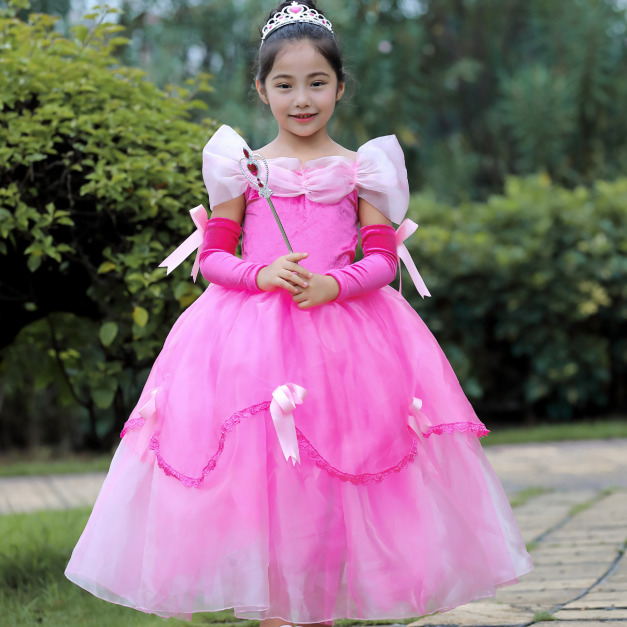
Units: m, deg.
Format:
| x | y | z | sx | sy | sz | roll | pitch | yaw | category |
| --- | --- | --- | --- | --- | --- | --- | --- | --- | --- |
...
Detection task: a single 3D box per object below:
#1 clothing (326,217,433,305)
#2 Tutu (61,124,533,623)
| x | y | z | sx | sy | sz | roll | pitch | yaw | category |
| --- | --- | --- | --- | --- | --- | --- | --- | --- | --- |
| 0.230 | -0.157 | 2.817 | 0.321 | 0.263 | 0.200 | 24 | 24 | 26 | clothing |
| -0.041 | 0.316 | 2.652 | 1.288 | 1.090 | 0.579 | -3 | 7 | -14 | Tutu |
